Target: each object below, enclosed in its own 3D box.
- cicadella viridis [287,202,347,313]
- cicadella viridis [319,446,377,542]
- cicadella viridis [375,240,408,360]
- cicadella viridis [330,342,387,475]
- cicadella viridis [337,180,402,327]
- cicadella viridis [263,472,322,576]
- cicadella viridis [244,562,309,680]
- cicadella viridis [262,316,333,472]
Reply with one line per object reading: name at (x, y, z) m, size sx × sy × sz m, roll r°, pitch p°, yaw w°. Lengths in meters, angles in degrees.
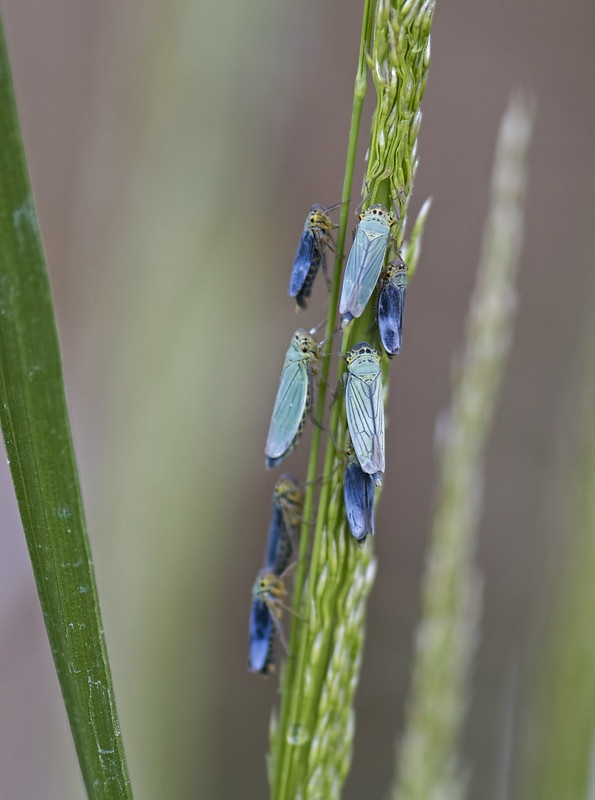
cicadella viridis at (0.017, -0.131, 0.813) m, size 0.033 × 0.106 × 0.032 m, roll 8°, pitch -4°, yaw 38°
cicadella viridis at (0.048, 0.075, 0.749) m, size 0.043 × 0.092 × 0.025 m, roll 7°, pitch -40°, yaw -16°
cicadella viridis at (0.074, -0.077, 0.738) m, size 0.017 × 0.086 × 0.023 m, roll 2°, pitch -7°, yaw -11°
cicadella viridis at (0.052, 0.007, 0.734) m, size 0.023 × 0.115 × 0.029 m, roll -2°, pitch -6°, yaw -3°
cicadella viridis at (0.052, -0.100, 0.733) m, size 0.024 × 0.108 × 0.030 m, roll 10°, pitch -24°, yaw 17°
cicadella viridis at (-0.006, 0.103, 0.827) m, size 0.036 × 0.086 × 0.020 m, roll 15°, pitch 14°, yaw 39°
cicadella viridis at (-0.019, 0.186, 0.809) m, size 0.020 × 0.100 × 0.051 m, roll 6°, pitch -7°, yaw -37°
cicadella viridis at (-0.002, -0.002, 0.770) m, size 0.042 × 0.125 × 0.082 m, roll 4°, pitch -36°, yaw -3°
